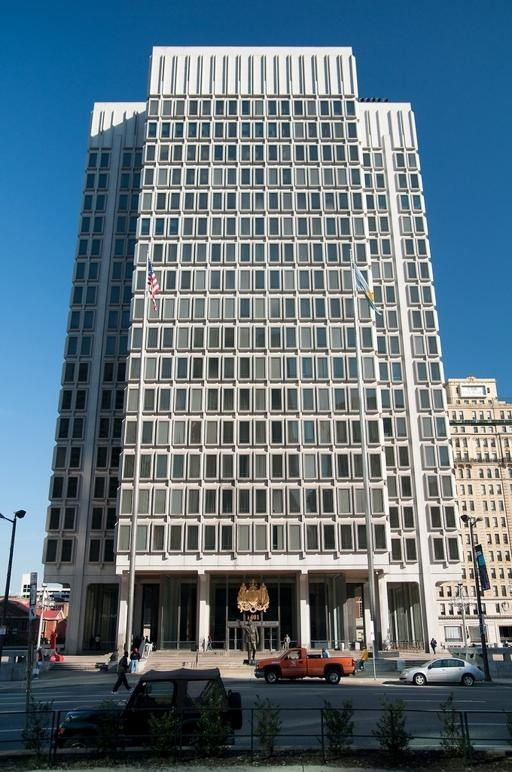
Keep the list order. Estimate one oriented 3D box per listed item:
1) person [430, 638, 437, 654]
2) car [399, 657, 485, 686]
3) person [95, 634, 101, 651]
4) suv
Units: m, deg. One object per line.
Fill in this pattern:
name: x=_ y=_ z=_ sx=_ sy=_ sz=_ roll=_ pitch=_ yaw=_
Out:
person: x=15.853 y=23.109 z=50.958 sx=0.387 sy=1.035 sz=1.304 roll=-3 pitch=-22 yaw=5
car: x=8.964 y=13.766 z=27.450 sx=3.928 sy=1.144 sz=0.995 roll=8 pitch=-23 yaw=-20
person: x=-15.142 y=24.497 z=54.469 sx=0.475 sy=1.282 sz=1.423 roll=7 pitch=-23 yaw=-18
suv: x=-1.635 y=5.100 z=8.964 sx=2.454 sy=1.330 sz=1.416 roll=1 pitch=-32 yaw=1
